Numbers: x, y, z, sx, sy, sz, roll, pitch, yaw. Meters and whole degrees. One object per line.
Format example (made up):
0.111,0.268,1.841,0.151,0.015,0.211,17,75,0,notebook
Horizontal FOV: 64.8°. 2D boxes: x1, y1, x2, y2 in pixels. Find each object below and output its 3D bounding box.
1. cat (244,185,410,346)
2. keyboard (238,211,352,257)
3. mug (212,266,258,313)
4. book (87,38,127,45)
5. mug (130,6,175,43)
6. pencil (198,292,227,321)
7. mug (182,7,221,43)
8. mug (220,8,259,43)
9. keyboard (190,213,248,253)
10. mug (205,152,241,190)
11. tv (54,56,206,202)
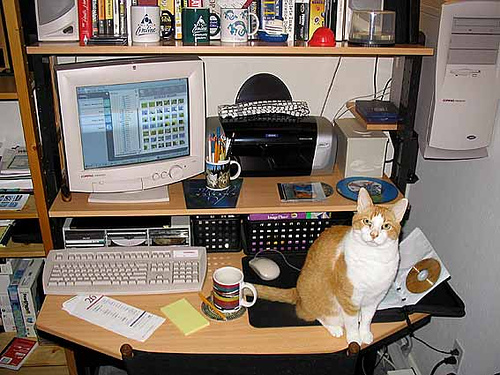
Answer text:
0.235,0.255,1.384,0.506,0.532,0.256,10,22,34,cat
0.169,0.196,1.653,0.329,0.111,0.224,0,27,-1,keyboard
-0.045,0.365,1.353,0.160,0.111,0.096,8,13,28,mug
-0.495,-0.508,1.373,0.132,0.025,0.088,-10,24,-18,book
-0.345,-0.598,1.443,0.178,0.135,0.104,-12,31,-24,mug
-0.123,0.409,1.341,0.018,0.019,0.157,-30,40,-14,pencil
-0.182,-0.569,1.403,0.140,0.101,0.082,-13,32,-28,mug
-0.043,-0.572,1.395,0.128,0.098,0.082,-6,34,-17,mug
-0.130,0.220,1.638,0.224,0.164,0.217,0,51,-2,keyboard
-0.109,-0.063,1.634,0.157,0.121,0.103,-6,24,-18,mug
-0.443,-0.219,1.446,0.452,0.461,0.260,-5,29,-11,tv
